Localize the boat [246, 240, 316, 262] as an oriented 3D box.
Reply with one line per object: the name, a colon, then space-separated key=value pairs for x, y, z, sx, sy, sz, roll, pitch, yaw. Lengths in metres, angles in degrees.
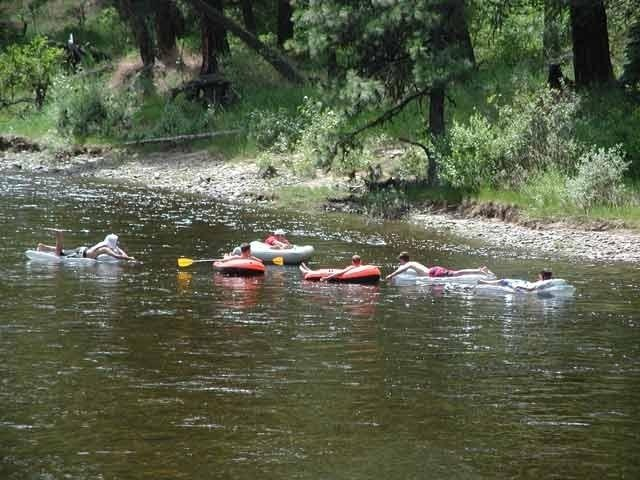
boat: x=-1.014 y=0.332 z=35.954 sx=1.206 sy=0.462 sz=0.731 roll=2 pitch=-3 yaw=16

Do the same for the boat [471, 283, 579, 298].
boat: x=5.352 y=1.255 z=33.182 sx=1.539 sy=0.319 sz=0.872 roll=1 pitch=-8 yaw=23

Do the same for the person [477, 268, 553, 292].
person: x=5.127 y=1.085 z=33.452 sx=1.346 sy=0.509 sz=0.707 roll=8 pitch=-1 yaw=20

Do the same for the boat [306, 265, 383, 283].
boat: x=0.646 y=0.886 z=34.001 sx=1.386 sy=0.432 sz=0.742 roll=0 pitch=-4 yaw=19

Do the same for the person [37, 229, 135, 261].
person: x=-6.293 y=0.244 z=35.391 sx=2.403 sy=0.855 sz=1.099 roll=2 pitch=5 yaw=-5

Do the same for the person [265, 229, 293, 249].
person: x=-1.173 y=-0.066 z=36.472 sx=0.497 sy=0.320 sz=0.702 roll=3 pitch=3 yaw=4
